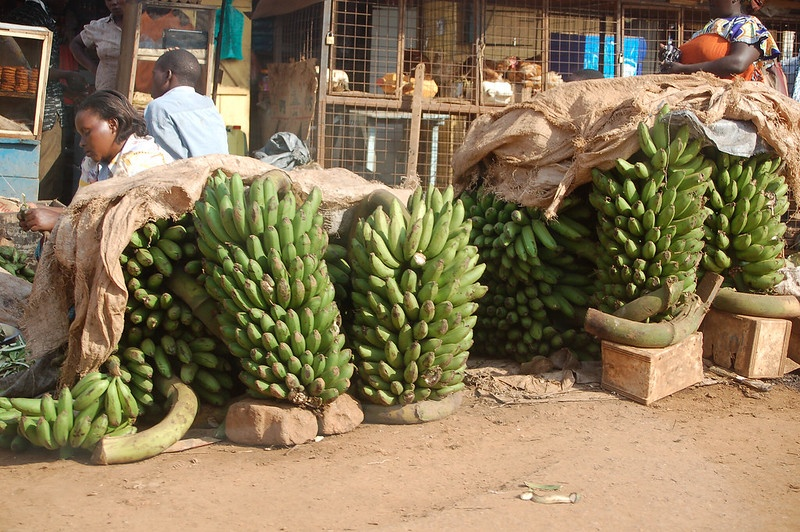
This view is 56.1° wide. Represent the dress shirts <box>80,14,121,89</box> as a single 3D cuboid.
[{"bbox_3d":[-3.960,-2.849,10.119,0.329,0.966,0.869,-7,12,-38],"label":"dress shirts"}]

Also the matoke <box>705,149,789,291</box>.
[{"bbox_3d":[3.276,-0.392,7.098,0.878,1.347,0.314,-2,9,-9],"label":"matoke"}]

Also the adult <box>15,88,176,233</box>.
[{"bbox_3d":[-2.564,-0.938,6.612,0.981,1.191,0.949,-1,9,-4],"label":"adult"}]

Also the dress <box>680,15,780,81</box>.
[{"bbox_3d":[3.463,-2.234,7.508,0.856,0.686,0.365,12,45,13],"label":"dress"}]

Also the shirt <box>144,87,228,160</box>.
[{"bbox_3d":[-2.176,-1.385,8.031,0.510,0.949,0.759,0,18,41],"label":"shirt"}]

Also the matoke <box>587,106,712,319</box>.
[{"bbox_3d":[2.220,-0.476,6.752,0.980,1.819,0.421,3,9,20],"label":"matoke"}]

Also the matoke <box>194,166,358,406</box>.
[{"bbox_3d":[-0.969,0.184,5.874,1.206,1.794,0.662,0,9,-1],"label":"matoke"}]

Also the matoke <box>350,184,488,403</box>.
[{"bbox_3d":[0.134,0.247,6.118,1.046,1.683,0.627,-1,9,-5],"label":"matoke"}]

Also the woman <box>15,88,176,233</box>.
[{"bbox_3d":[-2.726,-0.937,6.790,0.960,1.230,1.562,5,13,41],"label":"woman"}]
